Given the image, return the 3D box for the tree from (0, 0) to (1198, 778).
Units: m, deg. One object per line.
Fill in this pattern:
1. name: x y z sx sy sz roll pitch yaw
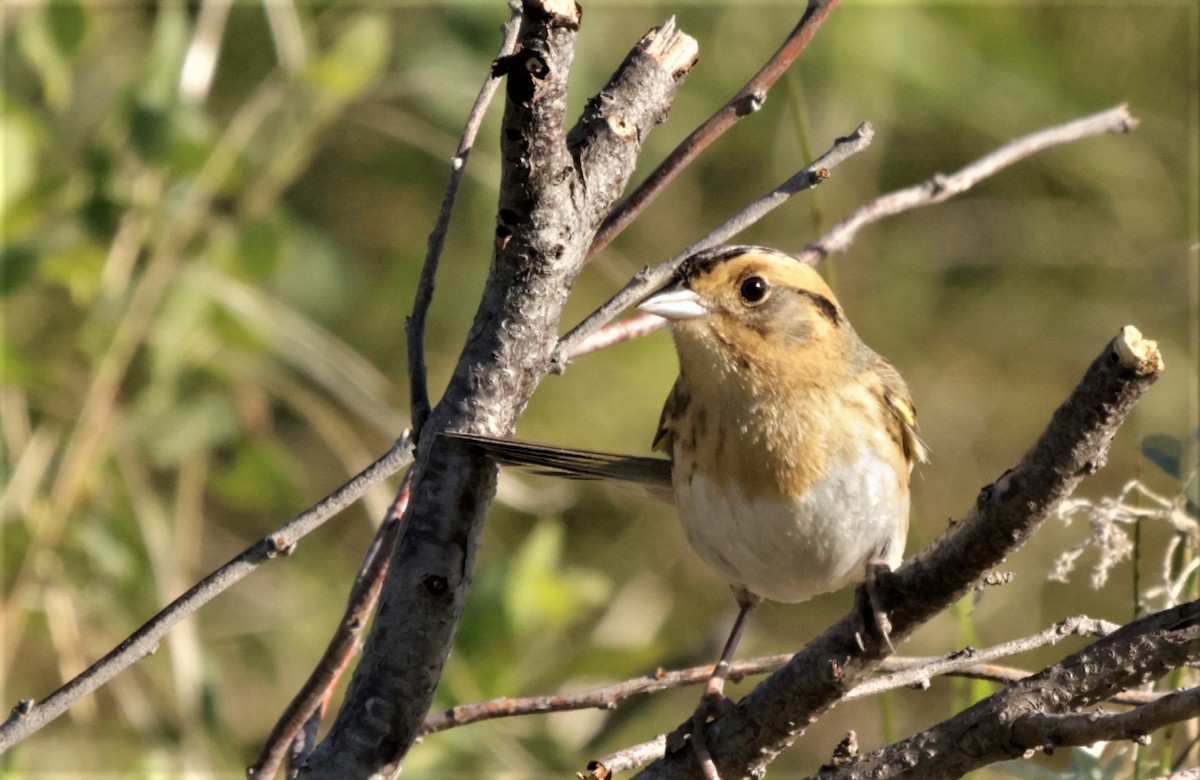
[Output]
1. tree: 0.085 0.016 4.251 3.023 2.249 2.004 6 -39 -3
